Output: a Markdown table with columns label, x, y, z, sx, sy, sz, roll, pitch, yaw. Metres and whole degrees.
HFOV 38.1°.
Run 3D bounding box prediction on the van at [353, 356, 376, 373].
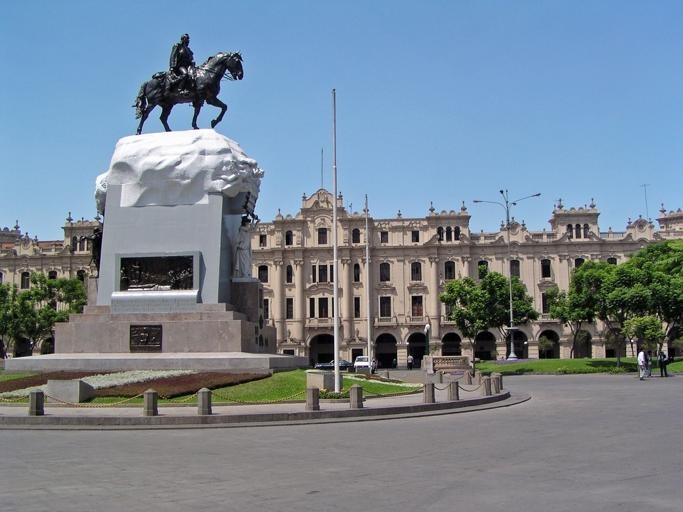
| label | x | y | z | sx | sy | sz | roll | pitch | yaw |
| --- | --- | --- | --- | --- | --- | --- | --- | --- | --- |
| van | 1.826 | 8.252 | 75.049 | 1.797 | 1.456 | 2.889 | -1 | -20 | 0 |

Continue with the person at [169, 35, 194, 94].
| label | x | y | z | sx | sy | sz | roll | pitch | yaw |
| --- | --- | --- | --- | --- | --- | --- | --- | --- | --- |
| person | -7.372 | -8.908 | 45.605 | 1.095 | 2.592 | 1.482 | 0 | -8 | -8 |

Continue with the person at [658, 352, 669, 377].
| label | x | y | z | sx | sy | sz | roll | pitch | yaw |
| --- | --- | --- | --- | --- | --- | --- | --- | --- | --- |
| person | 18.343 | 6.116 | 56.326 | 0.399 | 1.469 | 3.221 | -4 | -8 | 18 |

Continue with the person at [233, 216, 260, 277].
| label | x | y | z | sx | sy | sz | roll | pitch | yaw |
| --- | --- | --- | --- | --- | --- | --- | --- | --- | --- |
| person | -4.368 | -0.414 | 45.343 | 0.688 | 2.993 | 1.386 | -4 | -9 | 21 |

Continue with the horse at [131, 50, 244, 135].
| label | x | y | z | sx | sy | sz | roll | pitch | yaw |
| --- | --- | --- | --- | --- | --- | --- | --- | --- | --- |
| horse | -7.158 | -7.478 | 46.020 | 5.561 | 3.594 | 1.533 | -4 | -8 | 13 |
